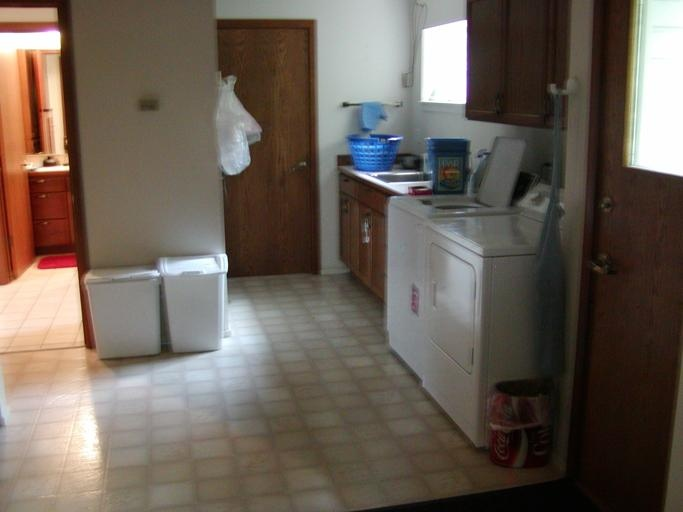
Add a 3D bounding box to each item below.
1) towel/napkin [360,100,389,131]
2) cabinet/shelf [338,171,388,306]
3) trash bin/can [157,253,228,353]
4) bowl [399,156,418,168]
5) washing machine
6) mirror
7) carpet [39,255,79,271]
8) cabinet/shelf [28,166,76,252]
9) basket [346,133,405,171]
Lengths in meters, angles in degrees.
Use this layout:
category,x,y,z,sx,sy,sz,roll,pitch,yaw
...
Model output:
category,x,y,z,sx,sy,sz,roll,pitch,yaw
towel/napkin,0.298,-1.364,5.326,0.258,0.263,0.113,-3,12,-15
cabinet/shelf,0.193,-0.160,4.795,0.376,0.857,0.974,0,21,-11
trash bin/can,-0.995,0.273,4.075,0.626,0.797,0.581,-1,11,-11
bowl,0.640,-0.905,5.272,0.138,0.094,0.159,-2,5,-11
washing machine,0.697,-0.032,3.674,0.823,1.404,0.689,-10,20,-23
mirror,-3.358,-1.924,6.450,0.260,1.202,0.109,-9,-19,-14
carpet,-3.091,0.047,6.045,0.371,0.043,0.595,-12,22,-25
cabinet/shelf,-3.218,-0.490,6.182,0.477,0.938,0.212,-11,20,-24
basket,0.281,-0.934,5.093,0.363,0.238,0.423,-1,15,-6
